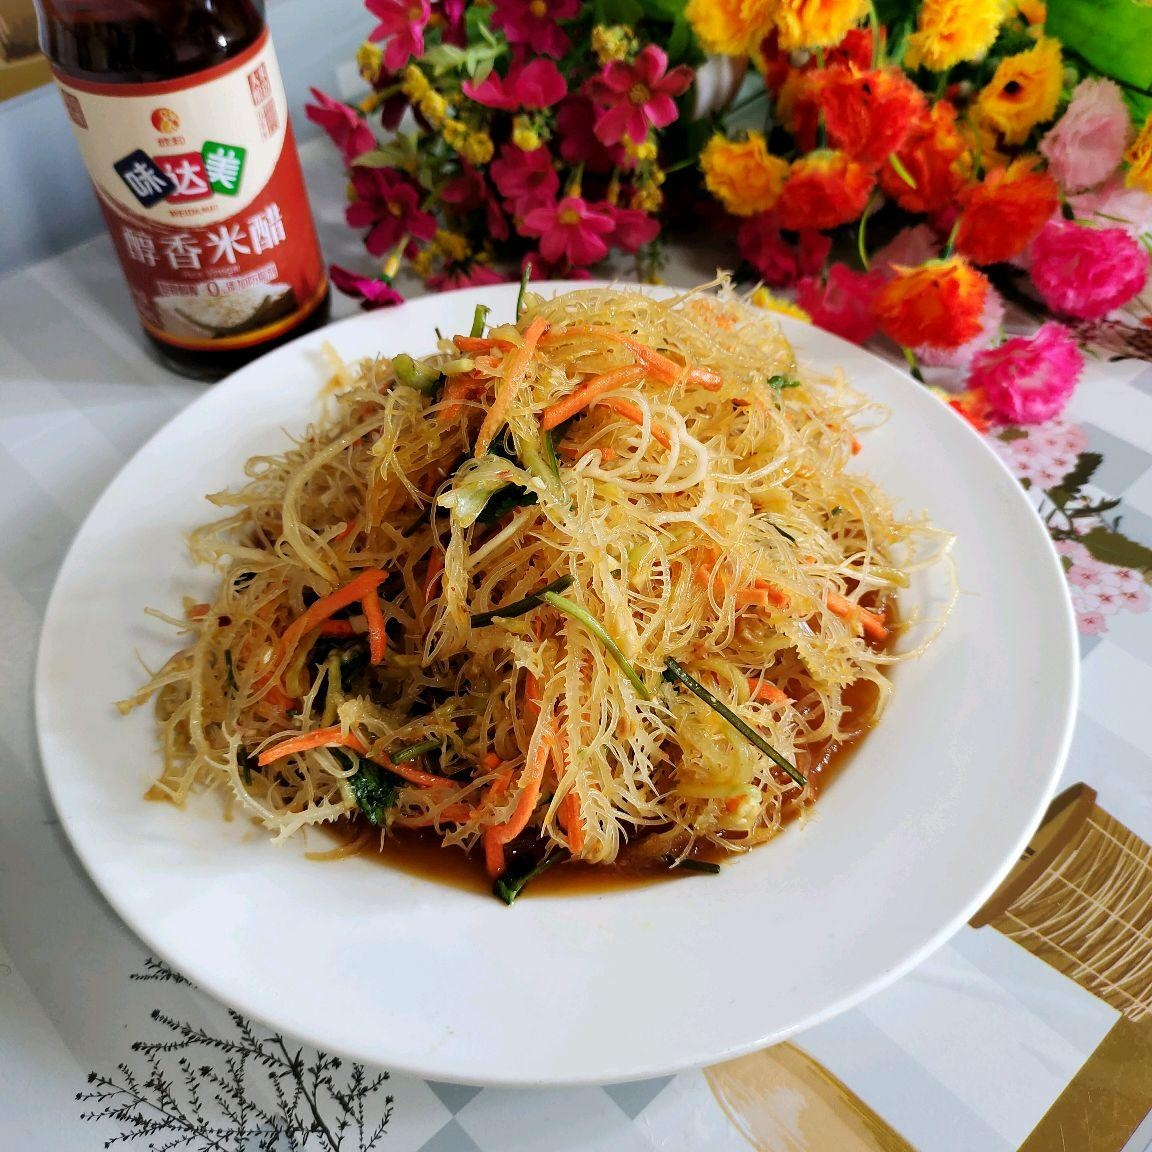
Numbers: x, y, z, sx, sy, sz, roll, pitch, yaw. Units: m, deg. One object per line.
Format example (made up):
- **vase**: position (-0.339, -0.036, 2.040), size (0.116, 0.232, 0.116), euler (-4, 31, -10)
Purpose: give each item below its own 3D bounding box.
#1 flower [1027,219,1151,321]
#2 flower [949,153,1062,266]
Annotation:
- **flower**: position (0.807, -0.470, 1.836), size (0.169, 0.090, 0.156), euler (33, 63, 26)
- **flower**: position (0.656, -0.555, 1.746), size (0.138, 0.120, 0.137), euler (17, 54, 10)
